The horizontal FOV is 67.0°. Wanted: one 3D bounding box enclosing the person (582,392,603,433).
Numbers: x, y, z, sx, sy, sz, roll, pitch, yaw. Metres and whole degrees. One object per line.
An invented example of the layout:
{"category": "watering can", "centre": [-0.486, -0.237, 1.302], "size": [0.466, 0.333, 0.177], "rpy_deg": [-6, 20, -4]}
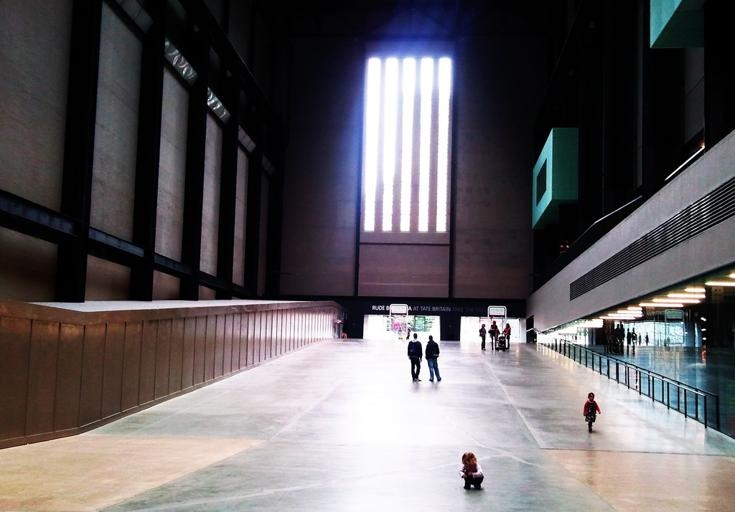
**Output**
{"category": "person", "centre": [5.640, 3.785, 13.942], "size": [0.316, 0.897, 1.250], "rpy_deg": [1, -2, 22]}

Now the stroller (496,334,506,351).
{"category": "stroller", "centre": [7.490, 4.749, 31.020], "size": [0.549, 0.788, 0.624], "rpy_deg": [1, -1, 14]}

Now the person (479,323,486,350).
{"category": "person", "centre": [6.615, 4.543, 31.814], "size": [0.238, 1.322, 1.000], "rpy_deg": [1, -1, 6]}
